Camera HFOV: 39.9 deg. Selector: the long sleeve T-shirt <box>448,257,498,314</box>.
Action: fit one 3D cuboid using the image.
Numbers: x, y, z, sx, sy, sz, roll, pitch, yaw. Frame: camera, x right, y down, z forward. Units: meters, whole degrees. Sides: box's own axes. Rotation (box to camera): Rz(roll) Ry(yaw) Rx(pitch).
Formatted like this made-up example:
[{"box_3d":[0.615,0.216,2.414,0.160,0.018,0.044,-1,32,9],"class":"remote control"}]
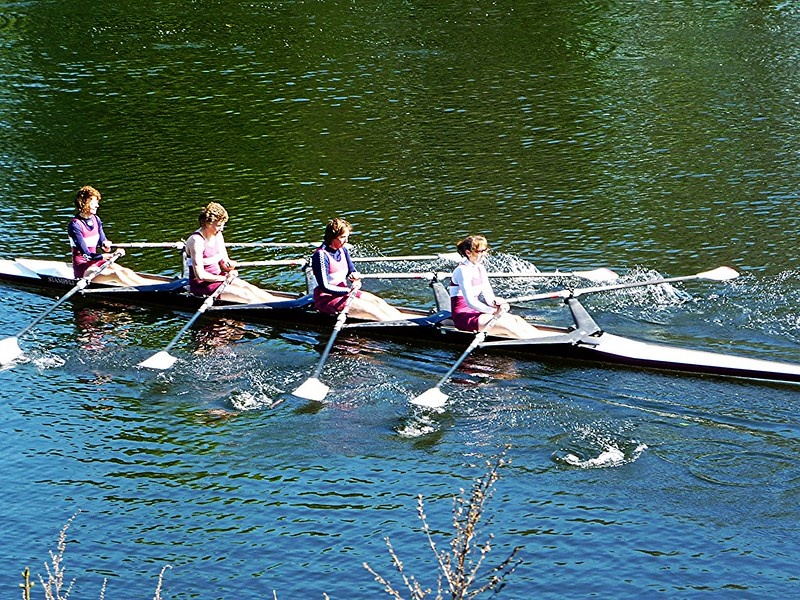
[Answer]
[{"box_3d":[1.314,-0.251,19.665,0.812,1.016,0.497,0,25,0],"class":"long sleeve T-shirt"}]
